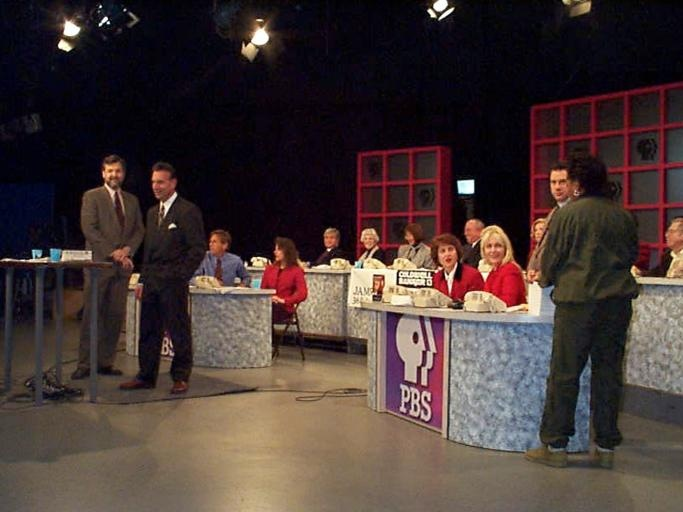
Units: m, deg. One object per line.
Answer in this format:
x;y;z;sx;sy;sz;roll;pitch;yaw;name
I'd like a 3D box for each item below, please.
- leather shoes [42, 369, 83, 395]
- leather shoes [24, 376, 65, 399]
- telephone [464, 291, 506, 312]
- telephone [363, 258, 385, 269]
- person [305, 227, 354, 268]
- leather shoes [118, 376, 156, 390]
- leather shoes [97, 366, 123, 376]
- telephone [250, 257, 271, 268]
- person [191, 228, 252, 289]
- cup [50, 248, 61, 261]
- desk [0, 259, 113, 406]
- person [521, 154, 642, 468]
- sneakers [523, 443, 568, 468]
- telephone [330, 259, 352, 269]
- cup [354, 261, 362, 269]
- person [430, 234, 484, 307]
-2.528;1.089;5.410;0.350;0.205;0.227;4;-1;25;leather shoes
-2.581;1.130;5.381;0.353;0.207;0.177;1;2;24;leather shoes
0.981;0.314;4.242;0.287;0.116;0.160;1;0;11;telephone
0.420;0.113;7.994;0.193;0.073;0.141;5;-6;-43;telephone
-0.249;-0.088;9.373;0.392;0.644;0.721;1;7;-36;person
-1.894;1.184;5.720;0.268;0.111;0.133;5;-6;-13;leather shoes
-2.384;1.181;6.349;0.308;0.131;0.108;-1;-5;2;leather shoes
-1.287;0.096;9.761;0.211;0.190;0.303;0;1;3;telephone
-1.427;0.117;7.742;0.754;1.002;0.629;-1;-6;16;person
-2.379;-0.013;5.139;0.121;0.120;0.080;2;-5;-20;cup
-2.921;0.620;6.232;0.885;1.189;2.957;1;-1;-25;desk
1.542;0.328;3.941;0.680;1.821;0.319;1;0;-13;person
1.288;1.243;3.927;0.104;0.123;0.257;3;-2;-42;sneakers
0.002;0.110;8.464;0.290;0.112;0.230;1;-1;16;telephone
0.215;0.125;8.499;0.090;0.148;0.090;0;5;0;cup
1.020;0.131;5.459;0.459;0.719;0.382;-17;-22;36;person
